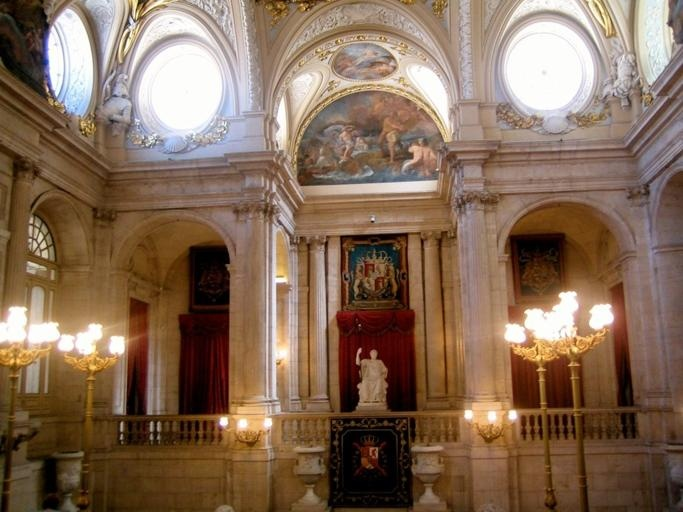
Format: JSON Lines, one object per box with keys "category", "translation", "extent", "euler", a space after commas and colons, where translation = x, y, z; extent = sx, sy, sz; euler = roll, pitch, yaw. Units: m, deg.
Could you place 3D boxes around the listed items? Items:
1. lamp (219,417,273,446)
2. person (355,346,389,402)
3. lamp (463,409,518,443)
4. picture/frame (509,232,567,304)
{"category": "lamp", "translation": [-2.429, 4.370, 16.768], "extent": [1.277, 0.752, 0.647], "euler": [-6, -19, 12]}
{"category": "person", "translation": [0.821, 3.392, 18.476], "extent": [0.836, 1.711, 0.586], "euler": [-2, -19, 1]}
{"category": "lamp", "translation": [3.609, 4.115, 16.078], "extent": [1.193, 0.762, 0.328], "euler": [1, -7, 4]}
{"category": "picture/frame", "translation": [6.092, 0.427, 20.493], "extent": [2.073, 2.985, 0.239], "euler": [0, -12, 1]}
